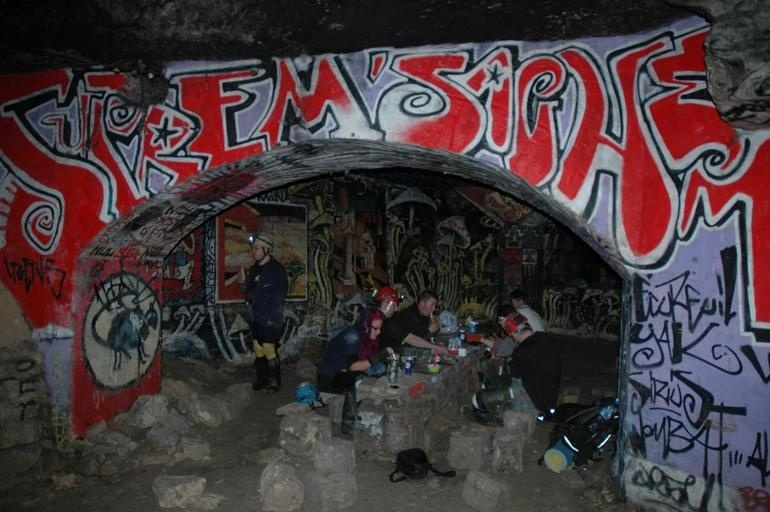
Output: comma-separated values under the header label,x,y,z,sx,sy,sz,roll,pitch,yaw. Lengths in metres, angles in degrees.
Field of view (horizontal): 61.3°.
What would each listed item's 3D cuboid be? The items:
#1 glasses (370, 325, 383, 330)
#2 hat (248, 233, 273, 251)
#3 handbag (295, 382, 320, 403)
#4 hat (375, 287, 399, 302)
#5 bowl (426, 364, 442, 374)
label,x,y,z,sx,sy,sz,roll,pitch,yaw
glasses,-0.137,1.080,9.837,0.149,0.074,0.299,5,-5,0
hat,-2.178,-0.255,11.121,0.424,0.249,0.350,8,-7,25
handbag,-1.258,2.160,10.262,0.316,0.257,0.351,-19,-27,-16
hat,0.009,0.585,9.901,0.353,0.233,0.244,5,-5,-2
bowl,0.702,1.665,9.625,0.134,0.060,0.138,-1,3,0
